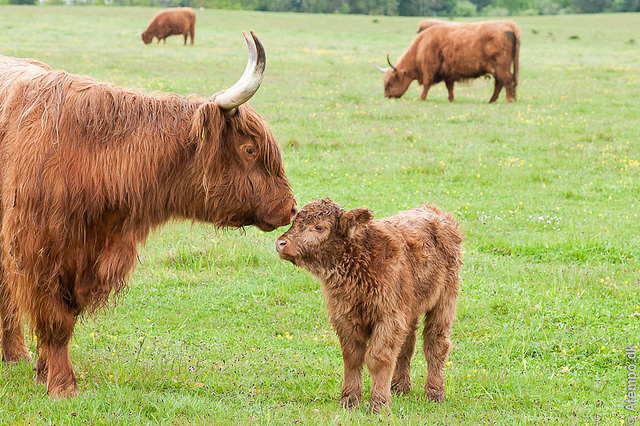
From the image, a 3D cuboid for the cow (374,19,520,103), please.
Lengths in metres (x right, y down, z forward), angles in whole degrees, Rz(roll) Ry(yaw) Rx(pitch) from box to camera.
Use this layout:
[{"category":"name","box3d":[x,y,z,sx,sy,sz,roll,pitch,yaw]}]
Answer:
[{"category":"cow","box3d":[4.245,-4.806,29.827,3.445,2.073,1.299,3,4,27]}]
